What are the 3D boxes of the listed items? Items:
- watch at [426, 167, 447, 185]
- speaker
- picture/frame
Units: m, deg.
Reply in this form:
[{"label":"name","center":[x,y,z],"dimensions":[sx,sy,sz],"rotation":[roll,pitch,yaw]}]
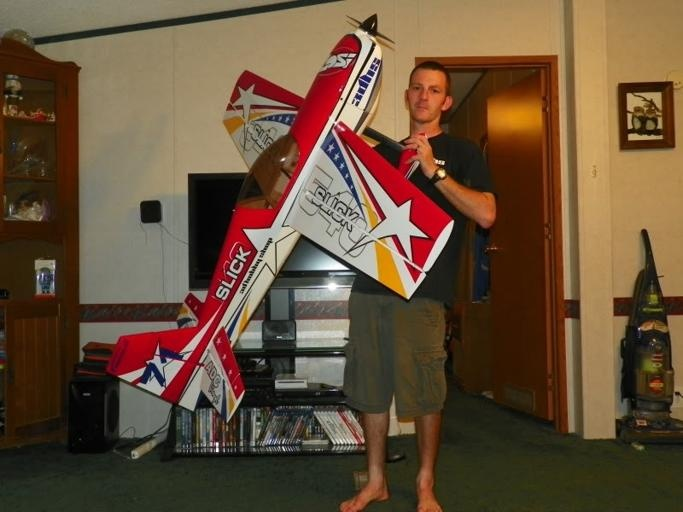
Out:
[{"label":"watch","center":[0.496,-0.419,3.865],"dimensions":[0.093,0.069,0.094],"rotation":[-10,-38,-22]},{"label":"speaker","center":[-1.726,1.062,5.097],"dimensions":[0.306,0.577,0.335],"rotation":[3,-2,17]},{"label":"picture/frame","center":[2.192,-1.021,5.279],"dimensions":[0.425,0.608,0.041],"rotation":[0,-4,-4]}]
